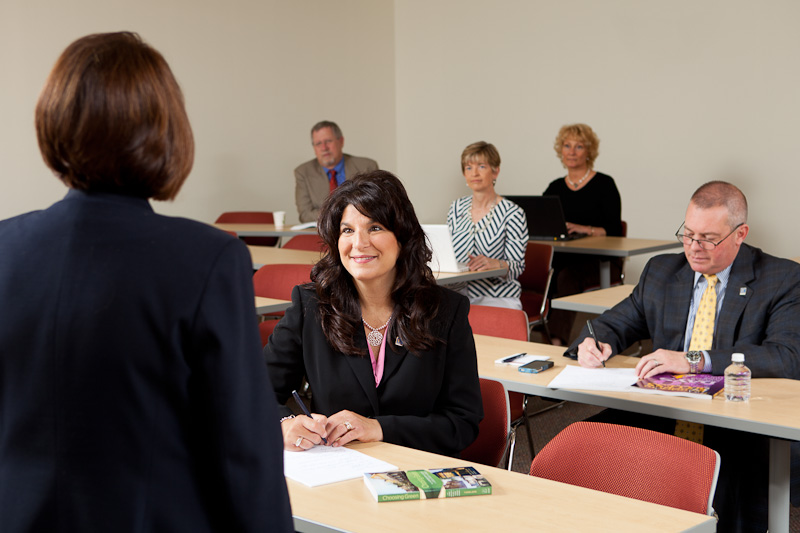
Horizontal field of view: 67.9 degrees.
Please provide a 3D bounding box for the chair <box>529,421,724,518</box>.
[{"bbox_3d":[0.625,0.457,1.651,0.417,0.293,0.436,9,-9,34],"label":"chair"}]

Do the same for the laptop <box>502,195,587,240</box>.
[{"bbox_3d":[1.238,-0.334,5.208,0.508,0.313,0.446,1,-1,34],"label":"laptop"}]

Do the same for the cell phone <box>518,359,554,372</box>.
[{"bbox_3d":[0.552,0.397,2.384,0.055,0.016,0.098,4,6,29],"label":"cell phone"}]

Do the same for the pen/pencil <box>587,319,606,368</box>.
[{"bbox_3d":[0.823,0.330,2.502,0.020,0.185,0.020,-37,-17,26],"label":"pen/pencil"}]

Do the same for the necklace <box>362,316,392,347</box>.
[{"bbox_3d":[-0.081,0.225,2.038,0.079,0.105,0.055,2,2,3],"label":"necklace"}]

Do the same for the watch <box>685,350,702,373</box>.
[{"bbox_3d":[1.133,0.363,2.288,0.051,0.080,0.083,4,9,3],"label":"watch"}]

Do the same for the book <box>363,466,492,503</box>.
[{"bbox_3d":[0.072,0.529,1.449,0.187,0.026,0.112,0,5,-7],"label":"book"}]

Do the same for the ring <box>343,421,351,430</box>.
[{"bbox_3d":[-0.150,0.461,1.719,0.014,0.019,0.018,3,-18,-7],"label":"ring"}]

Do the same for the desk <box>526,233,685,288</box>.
[{"bbox_3d":[1.851,-0.164,5.153,0.726,0.448,0.743,3,5,40],"label":"desk"}]

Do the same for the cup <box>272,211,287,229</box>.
[{"bbox_3d":[-1.130,-0.442,5.726,0.172,0.187,0.169,1,4,0],"label":"cup"}]

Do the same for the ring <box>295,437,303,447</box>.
[{"bbox_3d":[-0.285,0.498,1.688,0.018,0.024,0.006,16,0,17],"label":"ring"}]

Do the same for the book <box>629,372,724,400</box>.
[{"bbox_3d":[0.993,0.432,2.141,0.305,0.021,0.231,-2,6,-10],"label":"book"}]
